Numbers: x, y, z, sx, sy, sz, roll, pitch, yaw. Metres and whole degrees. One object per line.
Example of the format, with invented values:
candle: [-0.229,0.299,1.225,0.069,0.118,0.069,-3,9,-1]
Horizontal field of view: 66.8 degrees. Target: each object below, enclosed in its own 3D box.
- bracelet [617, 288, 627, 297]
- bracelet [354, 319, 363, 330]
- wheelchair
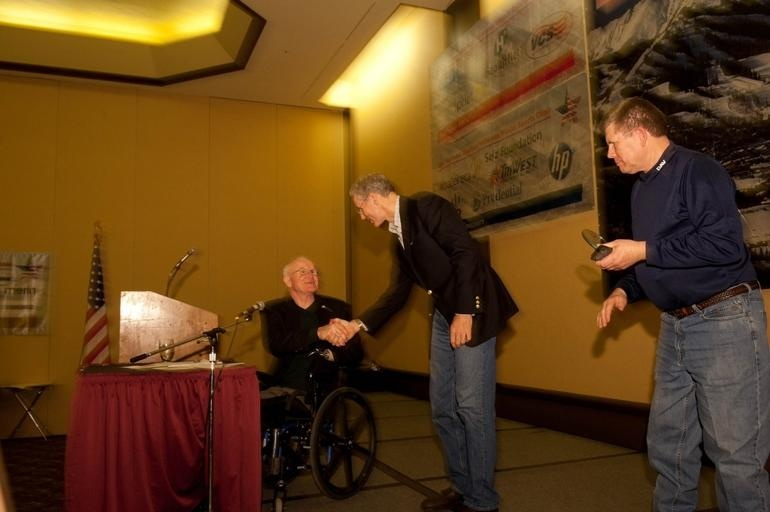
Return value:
bracelet: [1.552,0.231,3.804,0.039,0.045,0.043,1,1,5]
bracelet: [-0.204,0.513,4.496,0.023,0.081,0.057,-31,3,-13]
wheelchair: [-0.632,1.347,4.668,0.915,1.178,0.785,19,-32,-39]
